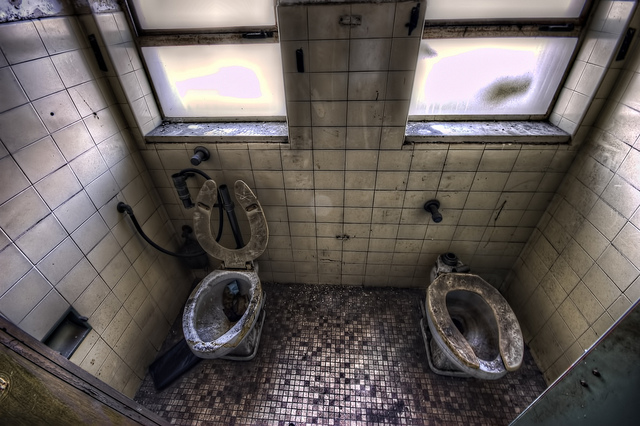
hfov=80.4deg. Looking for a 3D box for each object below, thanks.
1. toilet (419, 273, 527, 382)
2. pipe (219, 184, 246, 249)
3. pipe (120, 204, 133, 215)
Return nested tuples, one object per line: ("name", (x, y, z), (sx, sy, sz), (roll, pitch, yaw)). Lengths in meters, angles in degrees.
("toilet", (1.124, 0.893, 3.013), (0.702, 0.370, 0.888), (-7, 44, -5))
("pipe", (-0.701, 0.028, 3.015), (0.165, 0.459, 0.209), (6, 20, -1))
("pipe", (-1.443, -0.034, 2.832), (0.087, 0.049, 0.050), (23, 44, -8))
